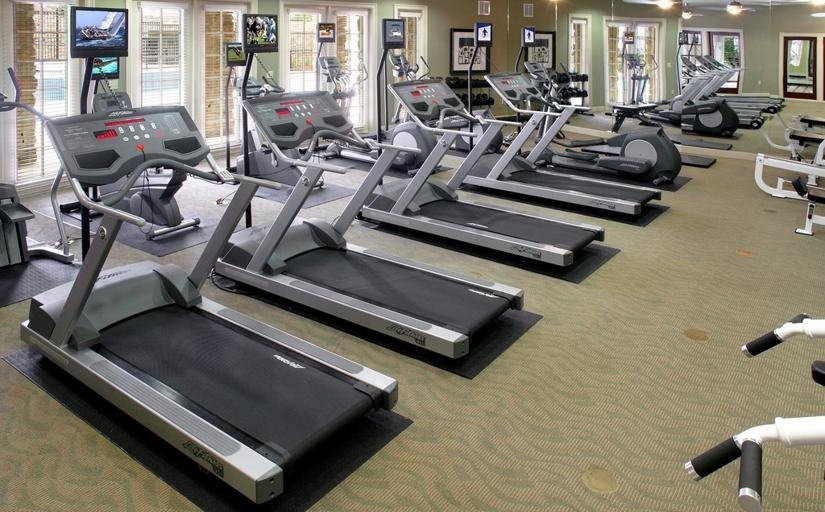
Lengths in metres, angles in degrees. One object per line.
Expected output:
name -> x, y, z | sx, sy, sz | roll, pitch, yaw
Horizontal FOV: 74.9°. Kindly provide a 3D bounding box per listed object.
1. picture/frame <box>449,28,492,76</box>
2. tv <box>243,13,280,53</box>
picture/frame -> 1.406, -4.941, 13.078 | 1.431, 1.039, 0.097 | -19, 28, -38
tv -> -1.913, -2.828, 6.907 | 0.634, 0.463, 0.101 | 15, 25, 31
